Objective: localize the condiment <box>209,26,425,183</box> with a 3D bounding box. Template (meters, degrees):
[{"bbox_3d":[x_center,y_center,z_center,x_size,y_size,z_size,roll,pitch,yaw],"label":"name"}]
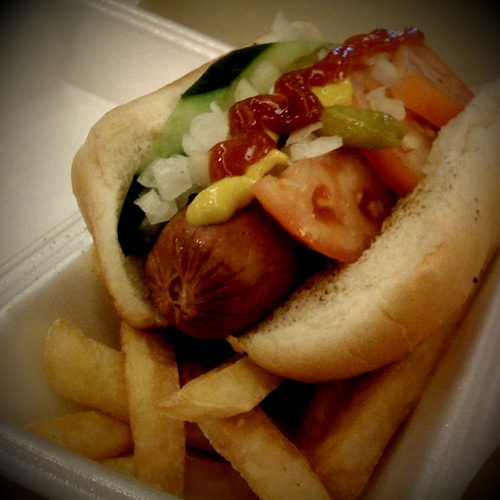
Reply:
[{"bbox_3d":[0.135,-0.337,1.304,0.566,0.129,0.130,-34,104,3],"label":"condiment"}]

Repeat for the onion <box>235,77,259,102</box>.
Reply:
[{"bbox_3d":[-0.014,-0.370,1.399,0.098,0.020,0.045,-1,80,-25],"label":"onion"}]

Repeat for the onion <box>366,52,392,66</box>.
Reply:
[{"bbox_3d":[0.271,-0.408,1.285,0.052,0.011,0.035,-25,44,-14],"label":"onion"}]

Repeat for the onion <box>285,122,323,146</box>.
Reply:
[{"bbox_3d":[0.109,-0.236,1.240,0.074,0.016,0.030,-28,74,8],"label":"onion"}]

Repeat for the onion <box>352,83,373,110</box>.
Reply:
[{"bbox_3d":[0.228,-0.318,1.254,0.047,0.015,0.052,-8,69,5],"label":"onion"}]

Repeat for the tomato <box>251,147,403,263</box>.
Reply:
[{"bbox_3d":[0.128,-0.127,1.283,0.234,0.293,0.062,-31,85,-24],"label":"tomato"}]
